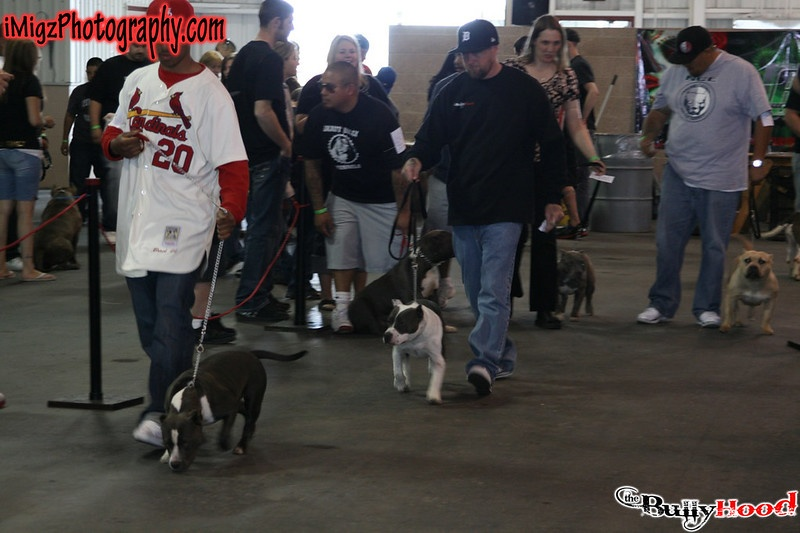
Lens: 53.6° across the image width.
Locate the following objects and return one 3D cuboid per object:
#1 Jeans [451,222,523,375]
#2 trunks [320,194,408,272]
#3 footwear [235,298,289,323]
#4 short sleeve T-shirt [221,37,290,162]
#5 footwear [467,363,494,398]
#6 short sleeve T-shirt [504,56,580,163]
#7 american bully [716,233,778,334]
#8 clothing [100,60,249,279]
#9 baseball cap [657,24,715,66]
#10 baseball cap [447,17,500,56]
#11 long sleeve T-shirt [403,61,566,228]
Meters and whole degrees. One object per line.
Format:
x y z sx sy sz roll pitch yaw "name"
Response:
0.642 0.221 5.832 0.460 1.086 0.486 0 12 -4 "Jeans"
-0.313 -0.326 7.433 1.014 0.915 0.450 -1 8 -22 "trunks"
-1.351 0.441 7.994 0.450 0.104 0.282 -1 2 -2 "footwear"
-1.267 -1.590 7.803 0.648 1.146 1.107 3 12 -17 "short sleeve T-shirt"
0.583 0.822 5.735 0.188 0.254 0.181 2 11 3 "footwear"
1.127 -1.460 7.186 0.922 0.722 0.462 4 18 -13 "short sleeve T-shirt"
3.511 0.228 7.949 0.564 0.829 1.455 7 -6 19 "american bully"
-1.375 -0.564 4.820 0.884 1.274 0.489 2 12 6 "clothing"
2.625 -2.070 7.448 0.541 0.321 0.586 1 41 5 "baseball cap"
0.523 -1.646 5.674 0.292 0.170 0.364 18 42 34 "baseball cap"
0.570 -0.896 5.927 1.491 0.959 0.574 -2 16 -22 "long sleeve T-shirt"
